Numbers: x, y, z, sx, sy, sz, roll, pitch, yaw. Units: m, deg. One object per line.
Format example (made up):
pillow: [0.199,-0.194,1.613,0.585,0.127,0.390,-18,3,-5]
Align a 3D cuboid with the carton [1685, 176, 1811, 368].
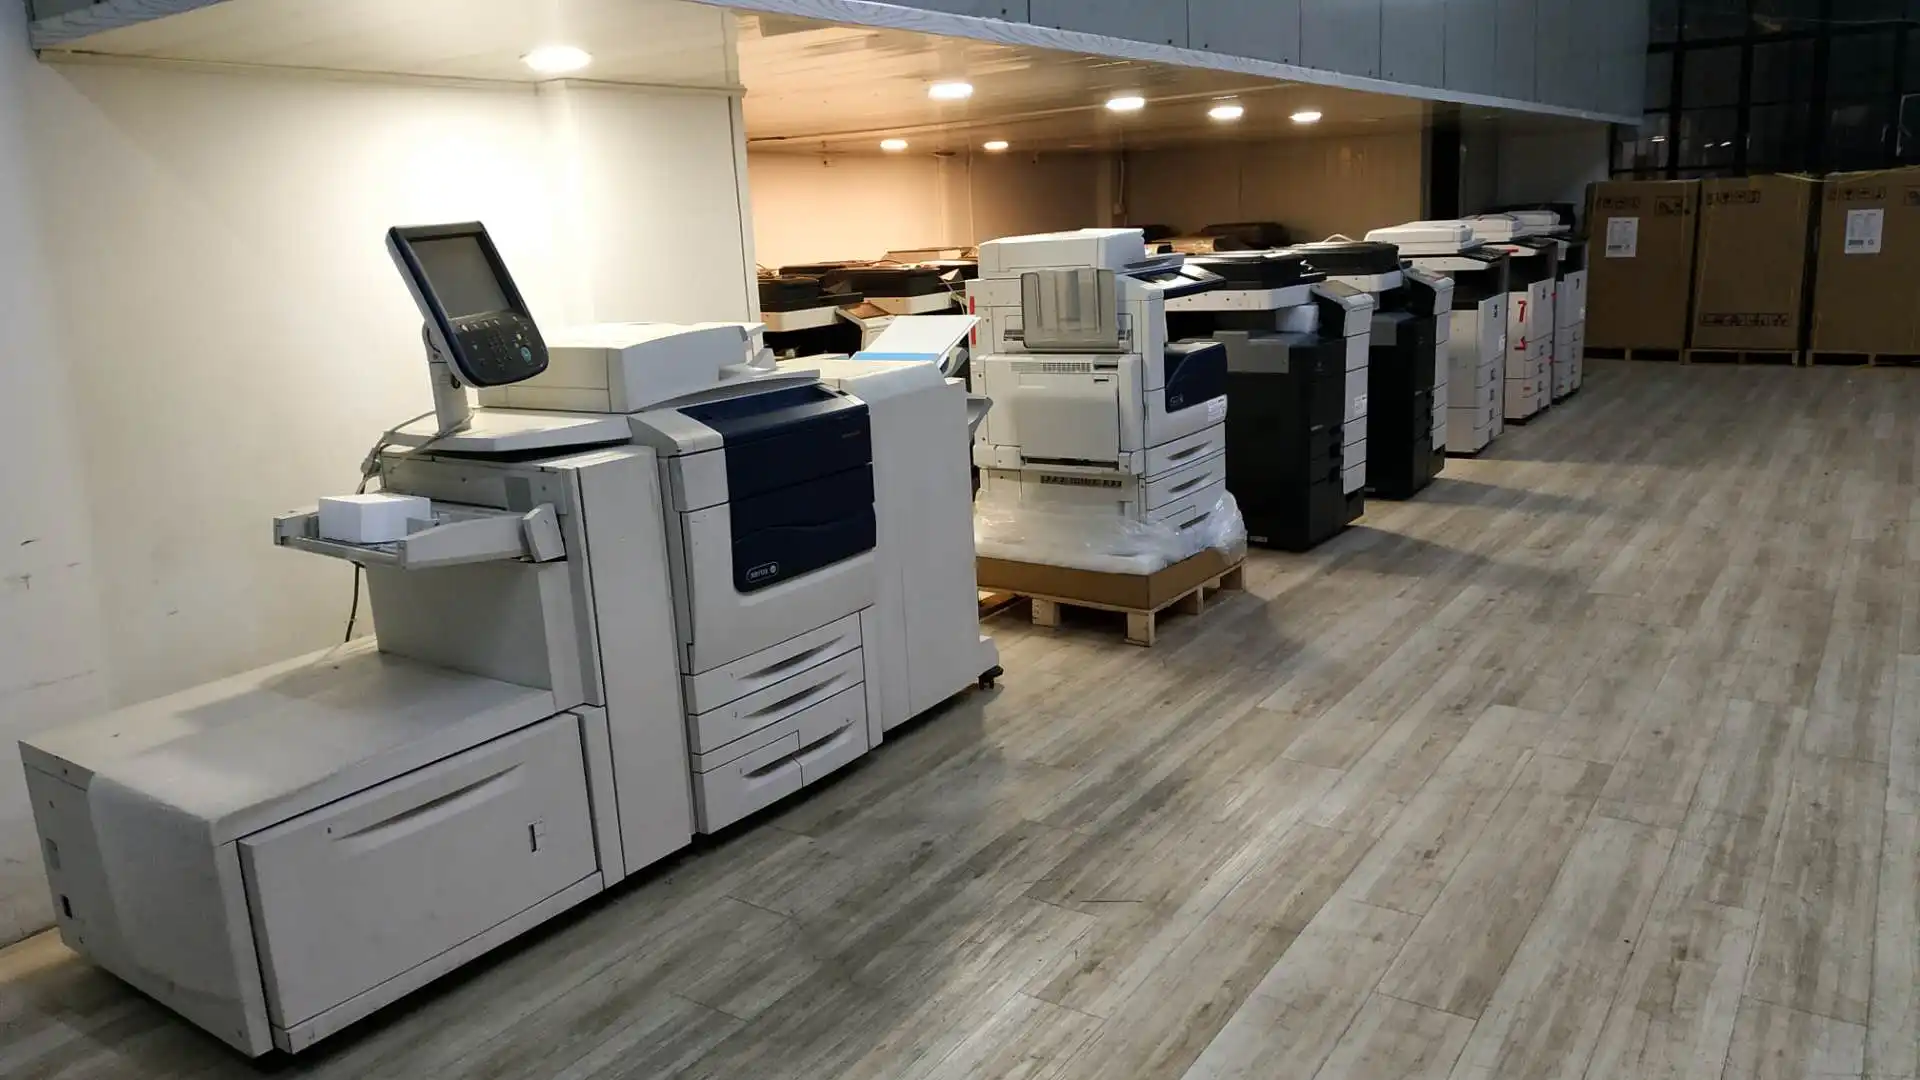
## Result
carton: [6.841,-2.326,10.382,0.867,1.568,0.379,5,26,29]

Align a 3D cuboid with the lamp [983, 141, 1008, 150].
lamp: [0.246,-2.801,8.510,0.171,0.035,0.163,-1,7,21]

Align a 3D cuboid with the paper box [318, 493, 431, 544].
paper box: [-1.884,-0.070,3.802,0.223,0.095,0.219,7,11,36]

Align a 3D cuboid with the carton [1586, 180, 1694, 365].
carton: [6.079,-2.429,10.789,0.906,1.537,0.383,3,25,25]

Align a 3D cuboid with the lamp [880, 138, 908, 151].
lamp: [-0.441,-2.598,7.871,0.191,0.038,0.191,4,7,44]

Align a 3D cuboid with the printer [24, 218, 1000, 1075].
printer: [-1.587,0.424,3.992,1.029,1.605,2.762,11,21,35]

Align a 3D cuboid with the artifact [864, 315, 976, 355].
artifact: [-0.182,-0.843,4.957,0.295,0.061,0.283,8,38,40]
